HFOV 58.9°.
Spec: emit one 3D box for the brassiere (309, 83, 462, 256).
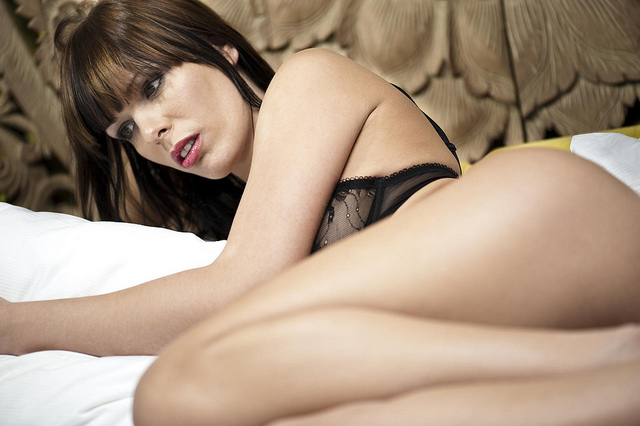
[{"bbox_3d":[0.196,-0.164,1.492,0.171,0.423,0.399,-36,31,-9],"label":"brassiere"}]
